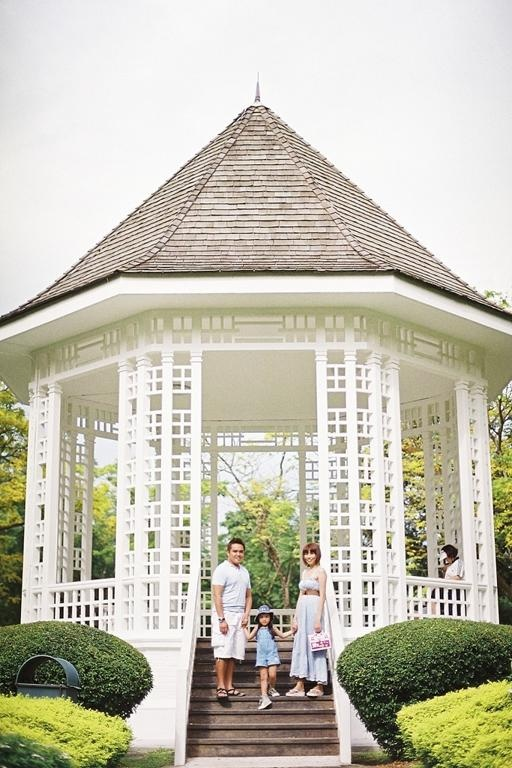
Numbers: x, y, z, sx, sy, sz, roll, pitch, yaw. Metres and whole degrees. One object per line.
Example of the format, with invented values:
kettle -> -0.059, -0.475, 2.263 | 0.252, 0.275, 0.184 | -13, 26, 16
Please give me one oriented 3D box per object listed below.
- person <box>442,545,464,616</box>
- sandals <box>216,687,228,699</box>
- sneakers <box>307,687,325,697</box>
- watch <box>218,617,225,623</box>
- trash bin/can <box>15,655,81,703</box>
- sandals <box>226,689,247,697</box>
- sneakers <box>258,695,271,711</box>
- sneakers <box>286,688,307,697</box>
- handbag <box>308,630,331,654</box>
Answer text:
person -> 2.347, 2.363, 11.269 | 0.256, 0.861, 1.497 | -1, -12, 12
sandals -> -0.328, 2.927, 8.765 | 0.104, 0.119, 0.155 | 2, -11, -3
sneakers -> 0.552, 2.946, 8.900 | 0.179, 0.105, 0.148 | 3, -12, -11
watch -> -0.327, 2.215, 8.721 | 0.053, 0.050, 0.045 | 3, -12, -10
trash bin/can -> -1.559, 2.215, 6.940 | 0.463, 0.459, 0.313 | -2, -12, 12
sandals -> -0.202, 2.966, 8.917 | 0.163, 0.067, 0.087 | 4, -2, -10
sneakers -> 0.073, 2.986, 8.729 | 0.126, 0.130, 0.268 | 1, -11, 0
sneakers -> 0.376, 2.964, 8.928 | 0.206, 0.094, 0.075 | 9, -21, -17
handbag -> 0.568, 2.427, 8.704 | 0.187, 0.202, 0.337 | 0, -11, 3
